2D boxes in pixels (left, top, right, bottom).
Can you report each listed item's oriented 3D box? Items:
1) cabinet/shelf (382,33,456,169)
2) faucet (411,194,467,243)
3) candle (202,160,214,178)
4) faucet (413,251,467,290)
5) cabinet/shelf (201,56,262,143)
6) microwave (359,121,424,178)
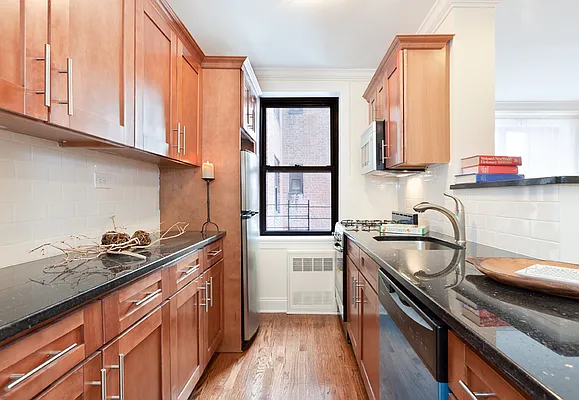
[{"bbox_3d":[1.044,-0.785,3.245,0.447,1.072,1.157,0,2,6],"label":"cabinet/shelf"},{"bbox_3d":[1.056,0.121,2.885,0.390,0.355,0.104,9,-9,-9],"label":"faucet"},{"bbox_3d":[-0.712,-0.258,3.436,0.120,0.192,0.127,0,4,-15],"label":"candle"},{"bbox_3d":[0.837,0.360,2.298,0.314,0.159,0.100,0,-1,-15],"label":"faucet"},{"bbox_3d":[-0.821,-1.194,4.258,0.443,0.726,1.468,-5,27,-18],"label":"cabinet/shelf"},{"bbox_3d":[0.943,-0.591,3.814,0.439,0.515,0.846,0,1,1],"label":"microwave"}]
